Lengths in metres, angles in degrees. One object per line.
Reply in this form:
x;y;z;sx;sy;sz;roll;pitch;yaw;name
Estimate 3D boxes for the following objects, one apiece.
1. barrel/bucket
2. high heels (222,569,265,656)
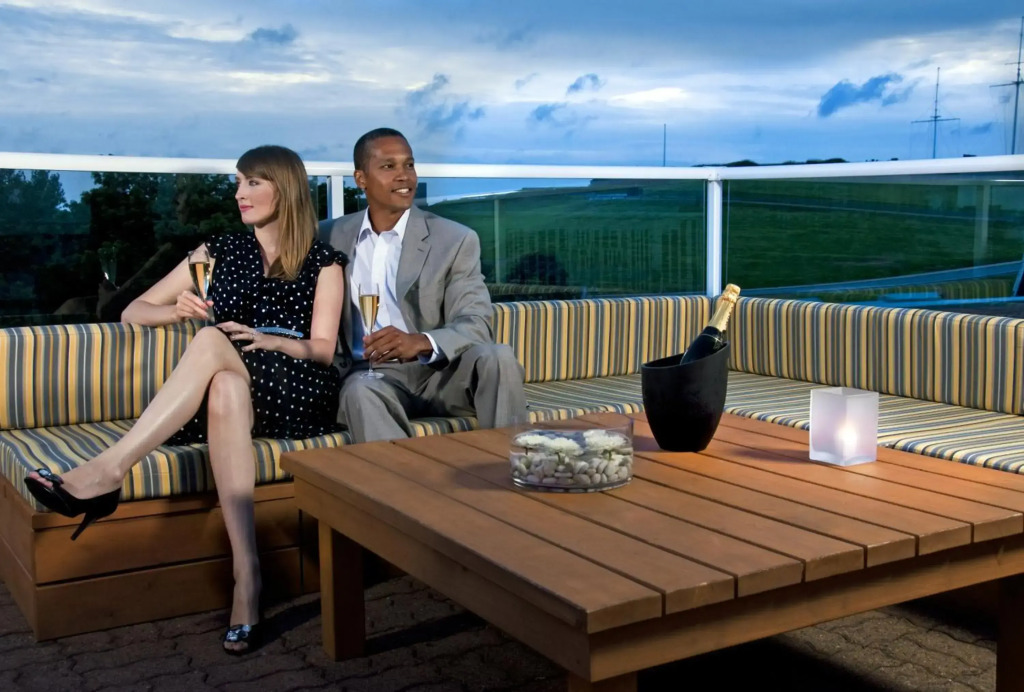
0.407;0.129;1.947;0.299;0.297;0.265;2;1;7;barrel/bucket
-0.811;0.786;2.138;0.128;0.191;0.160;-4;11;-9;high heels
